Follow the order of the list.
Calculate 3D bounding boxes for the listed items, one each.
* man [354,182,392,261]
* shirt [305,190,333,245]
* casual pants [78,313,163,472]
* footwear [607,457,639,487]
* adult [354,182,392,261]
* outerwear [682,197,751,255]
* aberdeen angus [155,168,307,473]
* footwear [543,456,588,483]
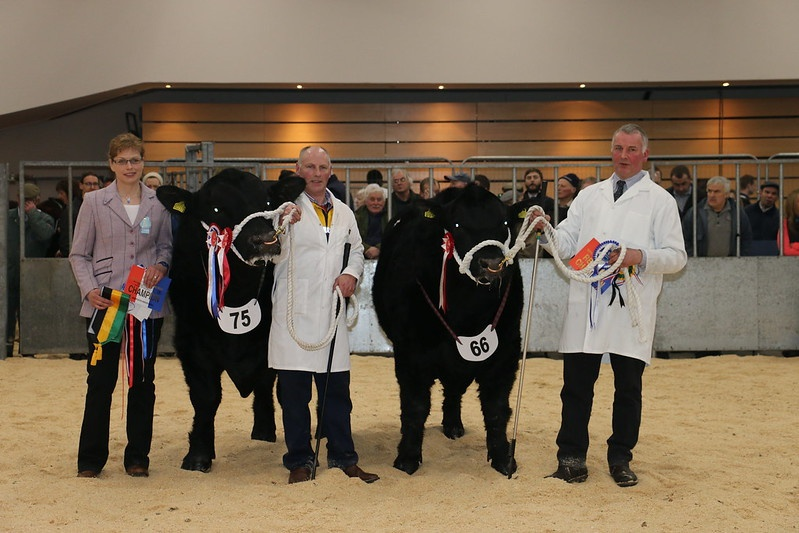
[{"bbox_3d":[-0.360,-0.623,16.987,0.489,0.989,0.319,2,14,17],"label":"man"},{"bbox_3d":[-0.880,-0.546,14.270,0.129,0.504,0.293,-23,-11,40],"label":"shirt"},{"bbox_3d":[-3.087,1.239,14.146,0.846,2.710,0.620,2,25,-14],"label":"casual pants"},{"bbox_3d":[2.506,2.321,14.144,0.188,0.167,0.385,-6,8,-13],"label":"footwear"},{"bbox_3d":[-0.389,-0.593,16.874,0.489,0.989,0.319,2,14,17],"label":"adult"},{"bbox_3d":[4.472,-0.524,17.805,0.957,0.989,0.521,-3,22,5],"label":"outerwear"},{"bbox_3d":[-2.021,0.479,15.138,1.386,3.334,4.075,-6,6,-15],"label":"aberdeen angus"},{"bbox_3d":[1.927,2.290,14.134,0.584,0.263,0.199,3,-5,-10],"label":"footwear"}]
